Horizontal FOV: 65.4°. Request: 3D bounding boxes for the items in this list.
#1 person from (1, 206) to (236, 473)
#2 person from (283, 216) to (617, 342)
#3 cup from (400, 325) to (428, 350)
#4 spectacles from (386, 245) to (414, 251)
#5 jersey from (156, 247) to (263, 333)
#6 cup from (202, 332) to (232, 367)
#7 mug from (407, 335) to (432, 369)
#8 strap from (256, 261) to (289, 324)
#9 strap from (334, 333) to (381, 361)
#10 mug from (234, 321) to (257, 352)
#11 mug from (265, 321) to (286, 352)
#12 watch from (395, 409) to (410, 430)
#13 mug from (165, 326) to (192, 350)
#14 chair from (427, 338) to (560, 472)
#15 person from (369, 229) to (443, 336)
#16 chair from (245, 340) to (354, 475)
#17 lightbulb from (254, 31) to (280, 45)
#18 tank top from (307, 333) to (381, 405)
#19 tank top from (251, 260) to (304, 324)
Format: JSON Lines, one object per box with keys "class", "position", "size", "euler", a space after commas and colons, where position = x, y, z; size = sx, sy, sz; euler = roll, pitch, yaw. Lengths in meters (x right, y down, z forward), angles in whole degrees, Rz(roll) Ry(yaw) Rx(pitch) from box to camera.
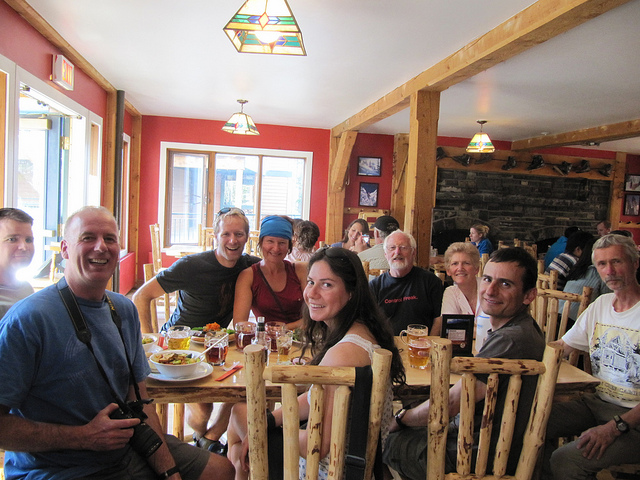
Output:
{"class": "person", "position": [-0.886, 0.431, 2.045], "size": [0.715, 1.132, 0.392], "euler": [0, 3, -41]}
{"class": "person", "position": [0.846, 0.241, 3.441], "size": [1.214, 0.672, 1.141], "euler": [1, 9, -1]}
{"class": "cup", "position": [0.465, 0.510, 2.638], "size": [0.172, 0.137, 0.109], "euler": [-1, -2, 32]}
{"class": "spectacles", "position": [0.513, 0.051, 3.304], "size": [0.142, 0.039, 0.060], "euler": [2, 2, 11]}
{"class": "jersey", "position": [-0.713, 0.305, 3.149], "size": [0.613, 0.497, 0.283], "euler": [1, 3, -18]}
{"class": "cup", "position": [-0.544, 0.542, 2.496], "size": [0.159, 0.154, 0.147], "euler": [3, -4, 0]}
{"class": "mug", "position": [0.477, 0.573, 2.556], "size": [0.117, 0.147, 0.172], "euler": [6, -8, -42]}
{"class": "strap", "position": [-0.297, 0.330, 3.056], "size": [0.060, 0.394, 0.058], "euler": [-22, 1, 5]}
{"class": "strap", "position": [0.156, 0.408, 1.990], "size": [0.110, 0.050, 0.106], "euler": [28, -6, -11]}
{"class": "mug", "position": [-0.383, 0.495, 2.565], "size": [0.159, 0.168, 0.156], "euler": [2, -10, 0]}
{"class": "mug", "position": [-0.249, 0.500, 2.621], "size": [0.145, 0.136, 0.127], "euler": [-2, 5, -22]}
{"class": "watch", "position": [0.389, 0.839, 2.364], "size": [0.031, 0.074, 0.059], "euler": [-5, -4, 24]}
{"class": "mug", "position": [-0.720, 0.499, 2.555], "size": [0.113, 0.115, 0.165], "euler": [1, 2, -15]}
{"class": "chair", "position": [0.662, 0.672, 1.898], "size": [0.421, 0.640, 0.451], "euler": [3, 3, 24]}
{"class": "person", "position": [0.577, 0.286, 3.427], "size": [0.622, 0.799, 0.482], "euler": [-7, -16, 15]}
{"class": "chair", "position": [-0.068, 0.657, 1.965], "size": [0.379, 0.589, 0.600], "euler": [2, 2, 3]}
{"class": "lightbulb", "position": [-0.292, -1.137, 2.771], "size": [0.103, 0.054, 0.155], "euler": [1, 2, -30]}
{"class": "tank top", "position": [0.096, 0.468, 1.802], "size": [0.233, 0.282, 0.155], "euler": [10, 15, 3]}
{"class": "tank top", "position": [-0.285, 0.336, 3.179], "size": [0.361, 0.477, 0.269], "euler": [-4, 24, -14]}
